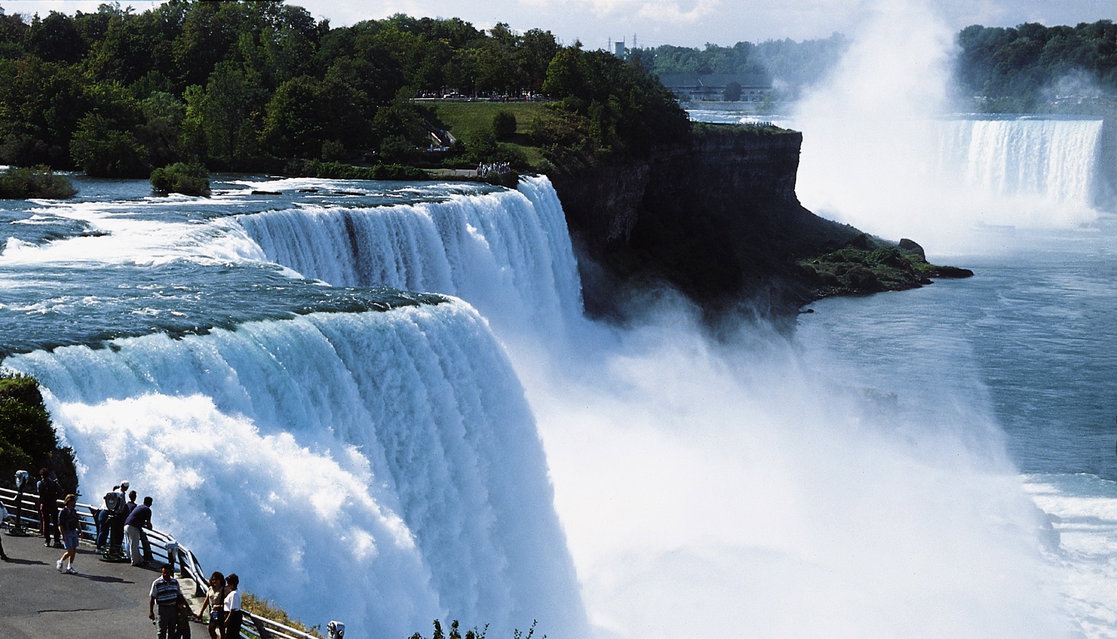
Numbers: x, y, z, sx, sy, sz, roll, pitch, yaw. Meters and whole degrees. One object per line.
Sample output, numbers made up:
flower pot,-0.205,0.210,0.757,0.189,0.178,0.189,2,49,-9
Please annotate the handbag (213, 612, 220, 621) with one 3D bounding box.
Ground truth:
handbag,-12.209,10.570,43.745,0.285,0.203,0.062,-2,13,-1

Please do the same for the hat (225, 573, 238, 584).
hat,-11.700,9.254,43.895,0.430,0.274,0.431,2,0,39

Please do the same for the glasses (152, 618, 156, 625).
glasses,-14.533,10.837,44.061,0.209,0.193,0.071,0,7,-12
